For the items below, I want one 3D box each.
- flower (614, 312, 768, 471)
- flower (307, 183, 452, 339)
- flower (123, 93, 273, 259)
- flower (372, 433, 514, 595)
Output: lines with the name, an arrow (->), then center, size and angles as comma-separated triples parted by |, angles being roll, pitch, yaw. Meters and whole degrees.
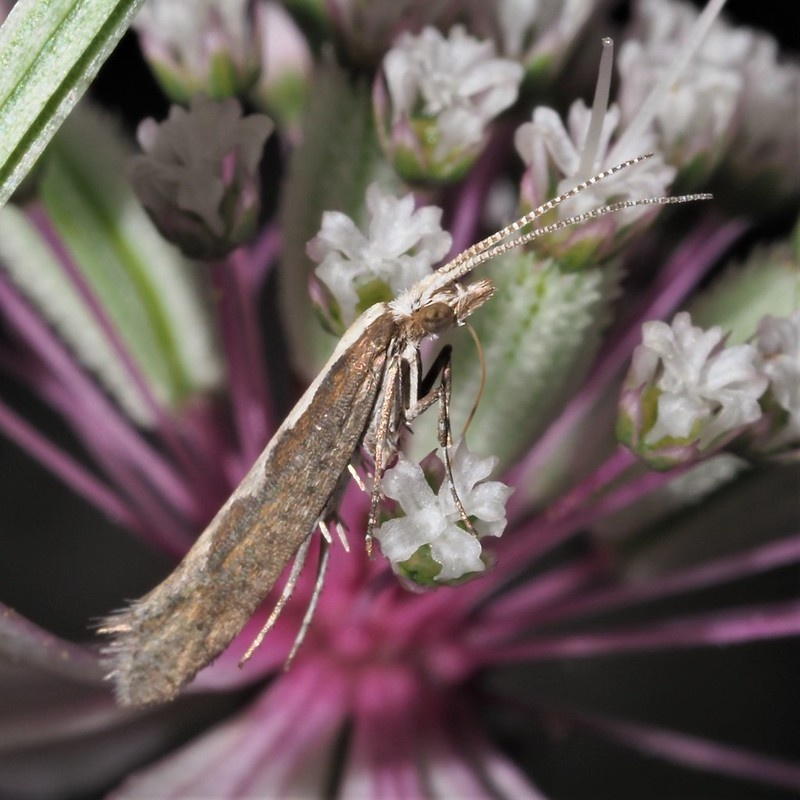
flower -> 0.244, -0.008, 0.880 | 0.121, 0.041, 0.135 | 41, 72, 9
flower -> -0.027, -0.125, 0.940 | 0.135, 0.036, 0.130 | 35, 84, 0
flower -> -0.190, -0.191, 0.905 | 0.147, 0.056, 0.132 | -2, 97, 1
flower -> 0.036, 0.100, 0.871 | 0.106, 0.090, 0.110 | 10, 56, 4
